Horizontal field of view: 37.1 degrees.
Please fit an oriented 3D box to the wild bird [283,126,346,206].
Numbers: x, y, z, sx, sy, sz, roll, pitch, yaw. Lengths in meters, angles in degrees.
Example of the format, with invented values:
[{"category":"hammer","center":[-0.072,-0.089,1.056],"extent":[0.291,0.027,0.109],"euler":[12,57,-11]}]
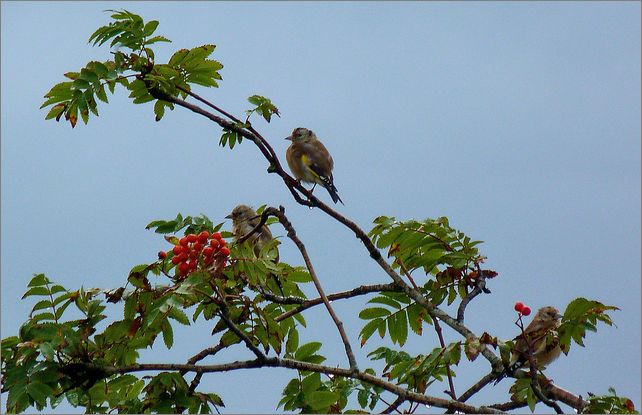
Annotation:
[{"category":"wild bird","center":[-0.042,-0.479,10.741],"extent":[0.764,0.453,0.660],"euler":[19,-87,4]}]
